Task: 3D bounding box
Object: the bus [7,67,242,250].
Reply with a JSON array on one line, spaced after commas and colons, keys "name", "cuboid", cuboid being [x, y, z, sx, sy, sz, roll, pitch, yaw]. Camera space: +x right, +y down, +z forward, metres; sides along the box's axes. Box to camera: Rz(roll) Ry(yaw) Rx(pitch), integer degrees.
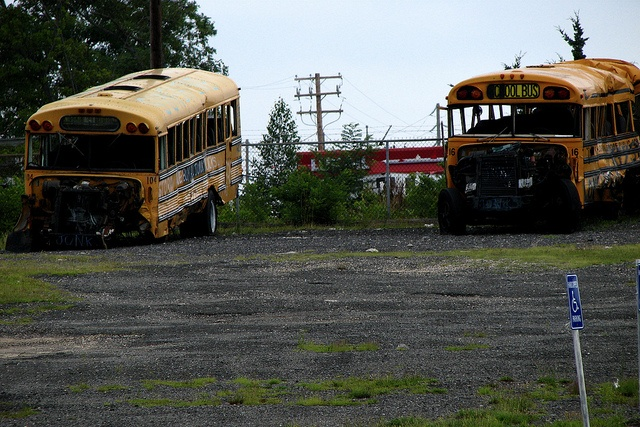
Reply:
[{"name": "bus", "cuboid": [-5.165, -1.660, 30.389, 4.334, 4.122, 8.736, -2, 4, 16]}]
